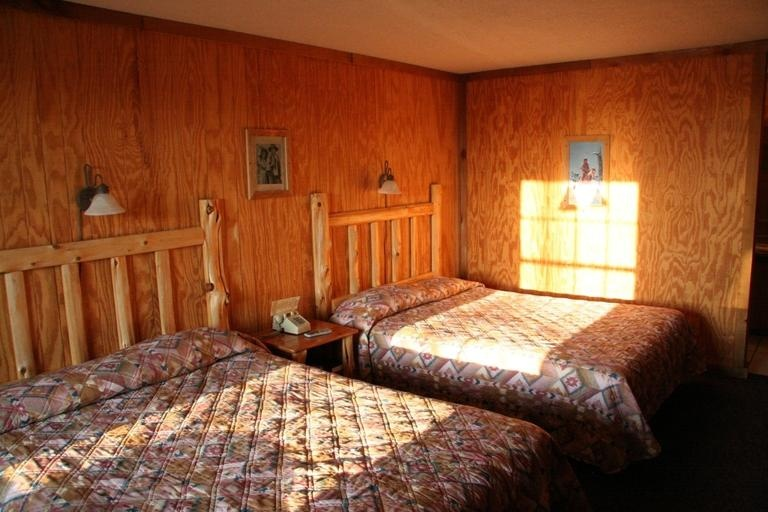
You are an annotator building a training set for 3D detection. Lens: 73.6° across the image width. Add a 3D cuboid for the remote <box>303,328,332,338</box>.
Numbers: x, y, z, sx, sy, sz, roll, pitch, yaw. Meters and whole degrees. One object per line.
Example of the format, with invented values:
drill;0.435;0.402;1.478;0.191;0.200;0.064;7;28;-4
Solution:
remote;-0.554;0.640;4.252;0.163;0.021;0.085;-6;10;-39
